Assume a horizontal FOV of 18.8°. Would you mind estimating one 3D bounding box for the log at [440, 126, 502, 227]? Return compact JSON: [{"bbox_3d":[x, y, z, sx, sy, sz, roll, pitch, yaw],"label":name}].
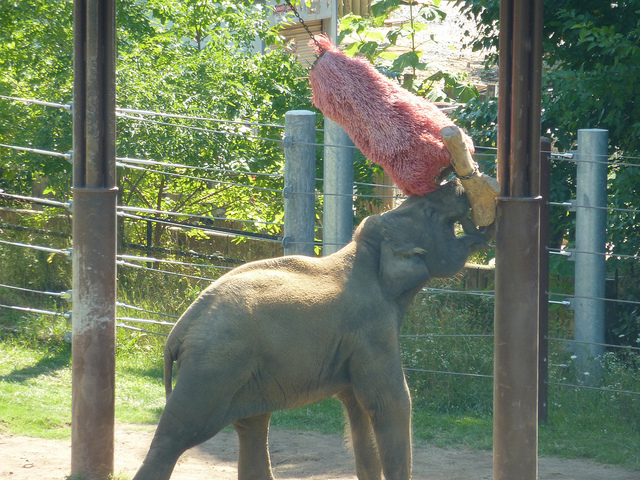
[{"bbox_3d":[1.090,-0.449,13.687,0.390,0.676,0.197,-24,15,28],"label":"log"}]
